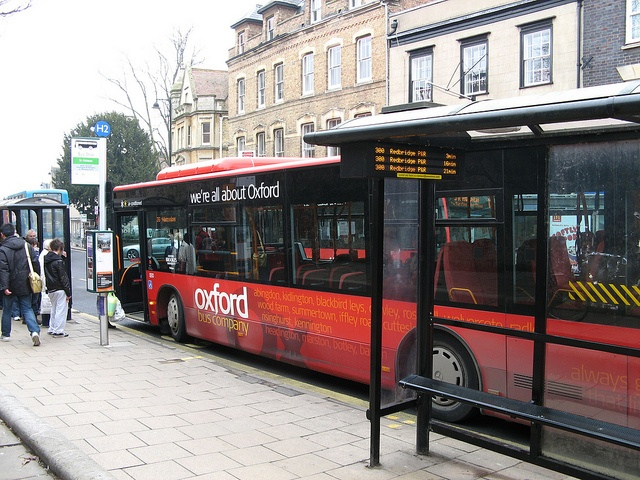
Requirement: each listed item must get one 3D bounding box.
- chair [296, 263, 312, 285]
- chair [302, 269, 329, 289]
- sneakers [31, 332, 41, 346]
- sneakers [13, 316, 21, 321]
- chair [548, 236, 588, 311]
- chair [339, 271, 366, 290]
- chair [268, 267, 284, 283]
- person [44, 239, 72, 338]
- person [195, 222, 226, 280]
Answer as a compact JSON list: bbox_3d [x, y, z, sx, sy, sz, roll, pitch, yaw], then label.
[{"bbox_3d":[-0.256,0.515,8.517,0.256,0.236,0.259,-8,11,-40],"label":"chair"},{"bbox_3d":[-0.059,0.530,8.343,0.289,0.299,0.284,-3,5,-42],"label":"chair"},{"bbox_3d":[-5.265,1.840,10.590,0.131,0.253,0.234,-5,5,-28],"label":"sneakers"},{"bbox_3d":[-7.211,1.857,13.573,0.136,0.078,0.225,0,5,-25],"label":"sneakers"},{"bbox_3d":[2.427,0.284,5.511,0.399,0.776,0.438,6,-8,-6],"label":"chair"},{"bbox_3d":[0.450,0.578,7.825,0.401,0.388,0.219,-1,-3,41],"label":"chair"},{"bbox_3d":[-0.666,0.558,8.957,0.208,0.287,0.281,2,-2,-41],"label":"chair"},{"bbox_3d":[-5.348,0.968,11.596,0.459,1.988,0.487,-4,5,-24],"label":"person"},{"bbox_3d":[-1.885,0.224,10.633,0.887,0.927,0.505,-2,1,35],"label":"person"}]
